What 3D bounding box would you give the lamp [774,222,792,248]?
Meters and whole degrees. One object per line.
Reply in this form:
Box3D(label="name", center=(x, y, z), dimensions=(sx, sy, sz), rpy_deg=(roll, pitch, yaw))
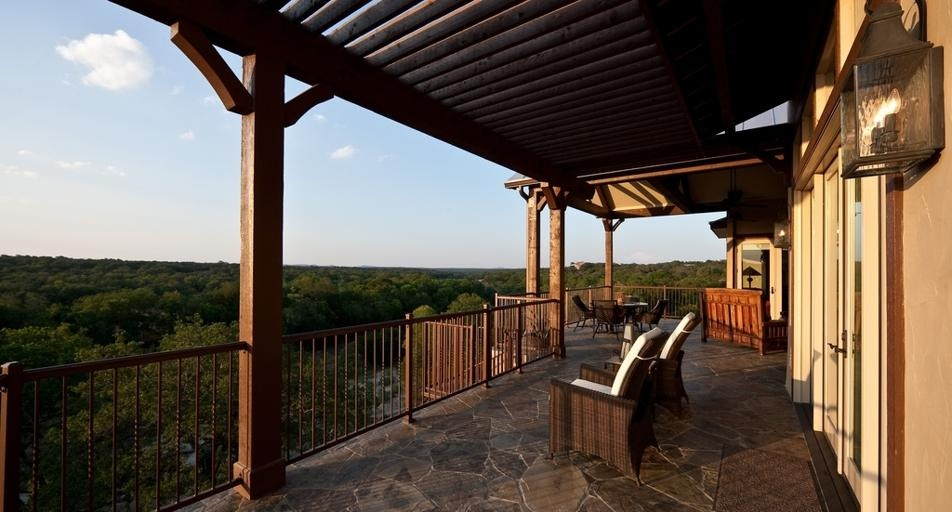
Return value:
Box3D(label="lamp", center=(10.663, -0.801, 19.757), dimensions=(0.381, 1.058, 0.546), rpy_deg=(-5, -1, 14))
